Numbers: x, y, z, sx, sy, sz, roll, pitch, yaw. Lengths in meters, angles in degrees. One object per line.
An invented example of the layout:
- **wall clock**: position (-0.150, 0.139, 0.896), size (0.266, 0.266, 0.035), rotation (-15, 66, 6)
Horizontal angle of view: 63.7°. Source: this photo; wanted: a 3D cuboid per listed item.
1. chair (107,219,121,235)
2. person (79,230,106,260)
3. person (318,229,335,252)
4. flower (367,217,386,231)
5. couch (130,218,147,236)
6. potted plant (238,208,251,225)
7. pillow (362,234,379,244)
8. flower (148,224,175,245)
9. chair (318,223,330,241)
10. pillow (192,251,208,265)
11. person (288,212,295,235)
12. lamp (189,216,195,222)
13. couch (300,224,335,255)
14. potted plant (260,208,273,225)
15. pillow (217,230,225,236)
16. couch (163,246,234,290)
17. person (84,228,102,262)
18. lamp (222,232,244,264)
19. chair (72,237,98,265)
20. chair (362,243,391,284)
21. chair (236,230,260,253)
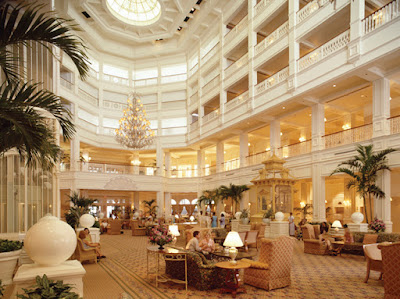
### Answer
- **chair**: position (-5.460, 5.025, 20.721), size (0.920, 1.255, 1.010), rotation (1, -4, -10)
- **person**: position (-3.657, 3.243, 10.978), size (0.881, 1.079, 0.468), rotation (-2, 3, -23)
- **person**: position (4.665, 3.504, 12.200), size (0.764, 0.250, 0.617), rotation (21, 5, 26)
- **flower**: position (6.532, 2.801, 11.905), size (0.523, 0.501, 0.744), rotation (-5, -6, 43)
- **couch**: position (-3.748, 4.806, 19.736), size (0.791, 1.015, 1.006), rotation (1, -4, -19)
- **potted plant**: position (2.420, 3.513, 16.620), size (0.509, 0.789, 0.615), rotation (2, -12, -7)
- **pillow**: position (5.854, 3.086, 11.100), size (0.451, 0.450, 0.142), rotation (-23, -46, 37)
- **flower**: position (-1.047, 2.315, 8.719), size (0.588, 0.518, 0.536), rotation (3, 0, -32)
- **chair**: position (5.494, 3.678, 14.306), size (0.720, 0.805, 0.578), rotation (9, -14, -42)
- **pillow**: position (0.030, 2.753, 8.086), size (0.391, 0.287, 0.283), rotation (1, -4, -15)
- **person**: position (4.350, 3.617, 15.351), size (0.239, 1.136, 0.698), rotation (-1, -4, 15)
- **lamp**: position (-0.467, 4.721, 21.527), size (0.453, 0.480, 0.461), rotation (4, -12, -19)
- **couch**: position (4.544, 3.499, 12.599), size (0.985, 0.959, 1.664), rotation (-1, -5, 12)
- **potted plant**: position (3.236, 3.201, 15.394), size (0.540, 0.773, 0.837), rotation (0, -4, 0)
- **pillow**: position (0.876, 3.506, 13.444), size (0.251, 0.247, 0.270), rotation (-11, -13, 16)
- **couch**: position (-0.258, 3.050, 8.400), size (1.937, 1.150, 0.907), rotation (-6, 37, -11)
- **person**: position (-3.688, 3.261, 11.083), size (0.625, 1.166, 0.422), rotation (-3, 14, -20)
- **lamp**: position (0.799, 2.431, 7.921), size (0.461, 0.711, 0.459), rotation (-2, -14, 13)
- **chair**: position (-3.726, 3.299, 10.534), size (0.775, 0.714, 0.790), rotation (-4, -16, 1)
- **chair**: position (4.566, 3.019, 8.514), size (0.802, 0.906, 0.821), rotation (9, -8, -17)
- **chair**: position (1.959, 3.664, 12.832), size (0.750, 0.728, 0.815), rotation (-9, -17, 20)
